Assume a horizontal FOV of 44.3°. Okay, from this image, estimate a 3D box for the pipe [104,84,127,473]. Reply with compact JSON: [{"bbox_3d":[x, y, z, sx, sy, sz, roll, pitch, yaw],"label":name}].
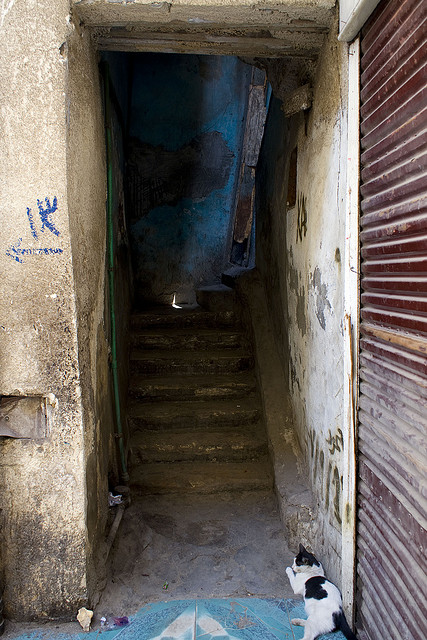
[{"bbox_3d":[-0.578,-0.285,2.892,0.071,2.275,0.076,2,-12,-28],"label":"pipe"}]
